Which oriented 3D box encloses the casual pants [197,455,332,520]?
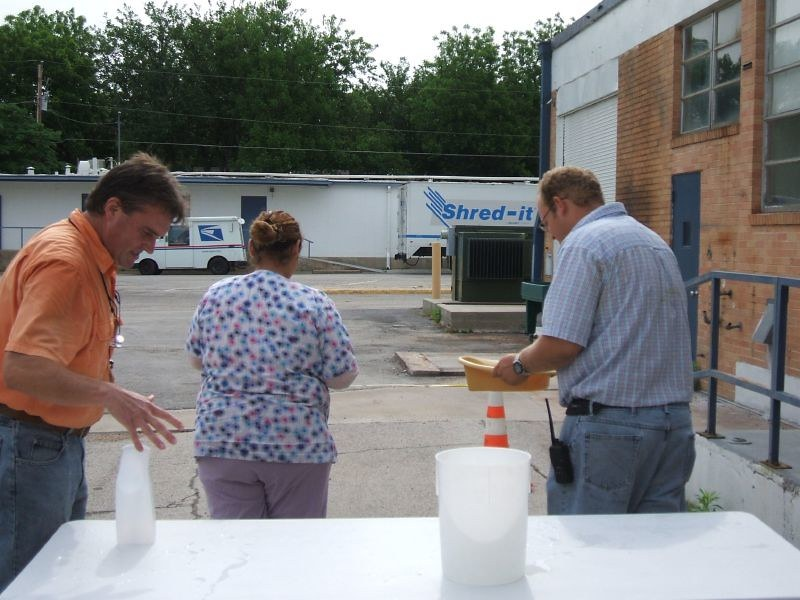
[{"bbox_3d":[-0.630,0.760,4.270,0.520,0.393,0.296,5,35,-3],"label":"casual pants"}]

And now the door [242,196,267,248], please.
[{"bbox_3d":[-5.543,-3.175,33.832,0.871,1.574,0.832,0,29,-10],"label":"door"}]

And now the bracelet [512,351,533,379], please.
[{"bbox_3d":[0.556,0.319,4.336,0.112,0.127,0.076,-3,-3,-17],"label":"bracelet"}]

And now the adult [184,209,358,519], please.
[{"bbox_3d":[-0.648,0.583,4.484,0.754,2.001,0.637,2,10,-4],"label":"adult"}]

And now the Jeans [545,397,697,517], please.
[{"bbox_3d":[1.048,0.708,4.405,0.630,0.875,0.506,1,1,-4],"label":"Jeans"}]

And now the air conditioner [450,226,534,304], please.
[{"bbox_3d":[1.680,-0.635,16.410,1.739,1.562,1.231,0,0,-4],"label":"air conditioner"}]

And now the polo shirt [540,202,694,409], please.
[{"bbox_3d":[1.011,0.067,4.194,0.674,0.867,0.255,1,3,10],"label":"polo shirt"}]

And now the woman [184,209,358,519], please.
[{"bbox_3d":[-0.632,0.570,4.488,0.706,2.025,0.632,2,10,-8],"label":"woman"}]
